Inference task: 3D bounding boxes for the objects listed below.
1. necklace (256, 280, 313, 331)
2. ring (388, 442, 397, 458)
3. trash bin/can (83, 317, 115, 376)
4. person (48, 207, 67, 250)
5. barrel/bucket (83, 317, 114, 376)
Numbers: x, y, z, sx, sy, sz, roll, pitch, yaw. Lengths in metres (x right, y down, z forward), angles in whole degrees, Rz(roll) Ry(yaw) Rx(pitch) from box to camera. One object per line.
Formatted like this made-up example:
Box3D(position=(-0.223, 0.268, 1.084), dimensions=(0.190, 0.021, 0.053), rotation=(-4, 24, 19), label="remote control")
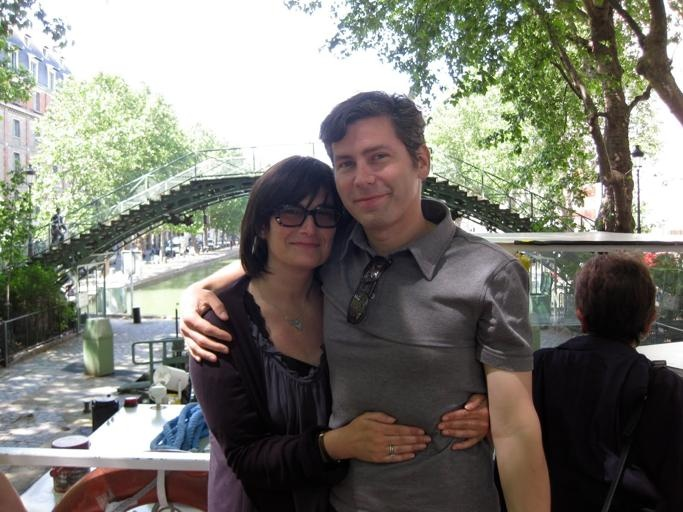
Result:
Box3D(position=(-0.298, 0.265, 3.008), dimensions=(0.310, 0.172, 0.208), rotation=(6, 19, 13), label="necklace")
Box3D(position=(0.235, 0.886, 2.555), dimensions=(0.021, 0.065, 0.062), rotation=(8, -17, -30), label="ring")
Box3D(position=(-6.502, 2.428, 14.838), dimensions=(0.723, 1.520, 0.683), rotation=(0, -2, -19), label="trash bin/can")
Box3D(position=(-11.910, -1.142, 23.471), dimensions=(0.611, 1.456, 1.384), rotation=(0, -3, -25), label="person")
Box3D(position=(-6.496, 2.428, 14.842), dimensions=(0.716, 1.520, 0.691), rotation=(-1, -2, 0), label="barrel/bucket")
